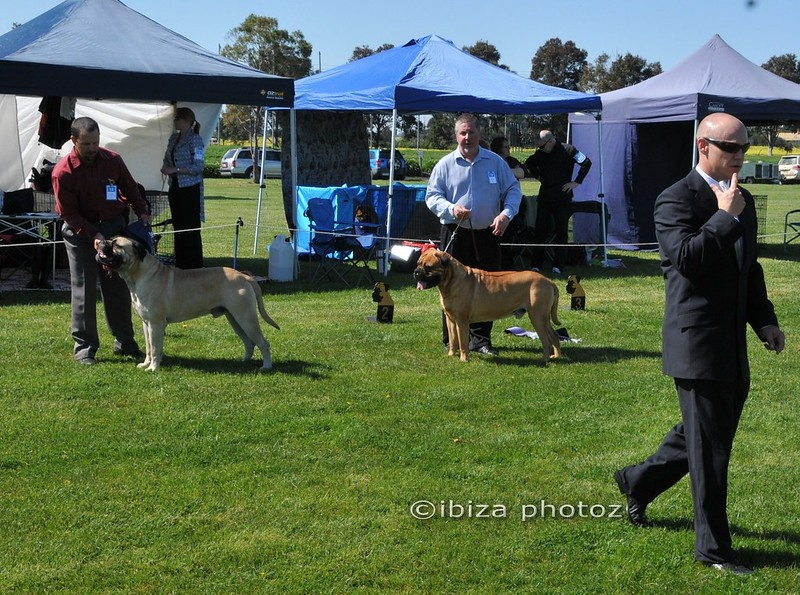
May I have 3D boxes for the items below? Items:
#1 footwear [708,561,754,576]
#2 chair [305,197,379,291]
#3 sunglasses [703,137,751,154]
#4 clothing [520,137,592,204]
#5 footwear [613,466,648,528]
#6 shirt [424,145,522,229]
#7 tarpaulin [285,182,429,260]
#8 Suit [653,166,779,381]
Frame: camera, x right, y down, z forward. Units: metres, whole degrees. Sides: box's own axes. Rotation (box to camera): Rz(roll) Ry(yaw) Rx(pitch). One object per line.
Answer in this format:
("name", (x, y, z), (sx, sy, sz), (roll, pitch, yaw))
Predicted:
("footwear", (2.071, 1.694, 5.842), (0.228, 0.124, 0.096), (2, 1, 7))
("chair", (-0.874, -0.812, 13.657), (0.839, 1.378, 1.013), (-1, 6, 21))
("sunglasses", (2.012, -0.937, 5.738), (0.292, 0.082, 0.163), (2, 16, 0))
("clothing", (2.487, -1.994, 14.932), (1.005, 1.021, 0.412), (2, -1, 22))
("footwear", (1.555, 1.391, 6.362), (0.144, 0.501, 0.179), (-17, 12, -34))
("shirt", (0.749, -1.112, 9.473), (0.887, 0.957, 0.585), (-1, 2, -2))
("tarpaulin", (-0.609, -1.437, 15.224), (1.349, 1.024, 1.409), (2, 3, 44))
("Suit", (1.954, -0.129, 5.812), (0.729, 1.263, 0.432), (0, 13, -3))
